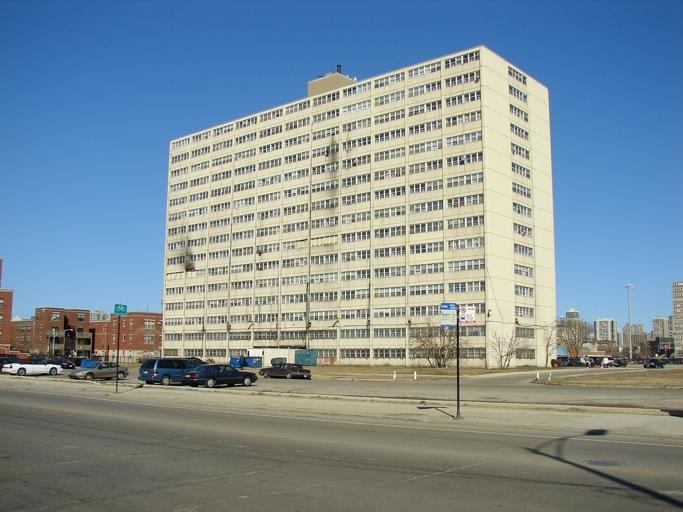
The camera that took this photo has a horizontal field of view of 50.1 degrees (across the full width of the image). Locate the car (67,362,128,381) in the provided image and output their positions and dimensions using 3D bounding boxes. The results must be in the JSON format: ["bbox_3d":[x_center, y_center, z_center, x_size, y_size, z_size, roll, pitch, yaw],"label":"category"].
[{"bbox_3d":[-20.069,9.488,60.617,2.284,1.463,3.915,-5,-12,28],"label":"car"}]

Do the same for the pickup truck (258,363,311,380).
[{"bbox_3d":[-4.921,10.422,66.493,4.292,1.294,1.404,-6,-13,32],"label":"pickup truck"}]

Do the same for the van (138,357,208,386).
[{"bbox_3d":[-12.381,8.427,53.457,4.031,1.160,2.052,0,-3,-21],"label":"van"}]

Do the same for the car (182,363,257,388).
[{"bbox_3d":[-8.246,8.354,51.167,4.811,1.171,1.934,1,-4,-29],"label":"car"}]
